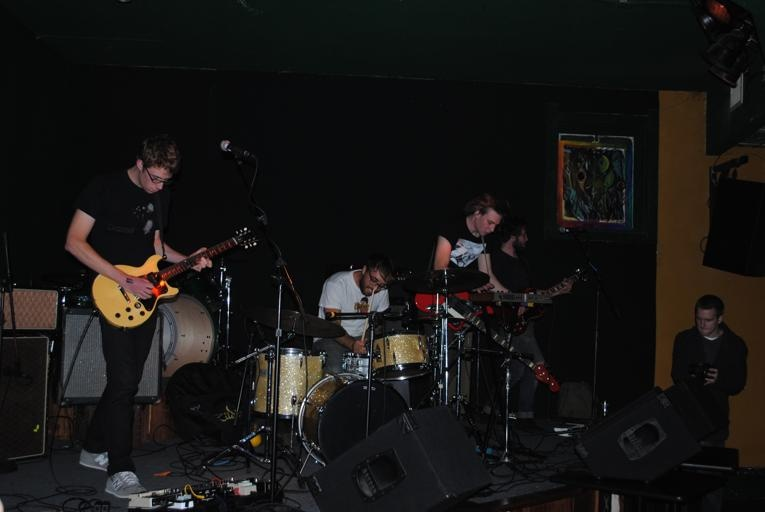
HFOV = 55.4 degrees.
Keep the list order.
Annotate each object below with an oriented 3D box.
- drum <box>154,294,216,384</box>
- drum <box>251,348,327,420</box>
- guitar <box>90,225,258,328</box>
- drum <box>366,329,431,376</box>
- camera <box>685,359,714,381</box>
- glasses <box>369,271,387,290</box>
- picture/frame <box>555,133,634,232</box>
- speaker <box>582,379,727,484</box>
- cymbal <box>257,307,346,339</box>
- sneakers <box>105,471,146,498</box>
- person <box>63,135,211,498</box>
[{"bbox_3d":[-2.169,0.939,8.258,0.758,0.793,0.800,-6,-1,0],"label":"drum"},{"bbox_3d":[-0.900,1.235,6.979,0.632,0.571,0.626,6,-10,-25],"label":"drum"},{"bbox_3d":[-1.895,0.189,6.298,1.698,0.644,0.195,-30,-3,-35],"label":"guitar"},{"bbox_3d":[0.148,0.928,6.750,0.417,0.279,0.440,-1,-11,0],"label":"drum"},{"bbox_3d":[2.765,1.010,6.341,0.290,0.216,0.141,4,-9,6],"label":"camera"},{"bbox_3d":[-0.053,0.245,7.266,0.170,0.180,0.085,22,-51,-33],"label":"glasses"},{"bbox_3d":[2.605,-0.889,9.075,1.202,1.418,0.104,0,1,-4],"label":"picture/frame"},{"bbox_3d":[2.149,1.474,5.875,0.911,0.672,0.329,-33,-9,6],"label":"speaker"},{"bbox_3d":[-0.734,0.600,6.448,0.449,0.106,0.415,15,-22,-8],"label":"cymbal"},{"bbox_3d":[-2.173,1.910,6.109,0.434,0.218,0.182,-3,-6,39],"label":"sneakers"},{"bbox_3d":[-2.184,0.514,6.295,0.940,3.026,0.608,1,-4,3],"label":"person"}]
